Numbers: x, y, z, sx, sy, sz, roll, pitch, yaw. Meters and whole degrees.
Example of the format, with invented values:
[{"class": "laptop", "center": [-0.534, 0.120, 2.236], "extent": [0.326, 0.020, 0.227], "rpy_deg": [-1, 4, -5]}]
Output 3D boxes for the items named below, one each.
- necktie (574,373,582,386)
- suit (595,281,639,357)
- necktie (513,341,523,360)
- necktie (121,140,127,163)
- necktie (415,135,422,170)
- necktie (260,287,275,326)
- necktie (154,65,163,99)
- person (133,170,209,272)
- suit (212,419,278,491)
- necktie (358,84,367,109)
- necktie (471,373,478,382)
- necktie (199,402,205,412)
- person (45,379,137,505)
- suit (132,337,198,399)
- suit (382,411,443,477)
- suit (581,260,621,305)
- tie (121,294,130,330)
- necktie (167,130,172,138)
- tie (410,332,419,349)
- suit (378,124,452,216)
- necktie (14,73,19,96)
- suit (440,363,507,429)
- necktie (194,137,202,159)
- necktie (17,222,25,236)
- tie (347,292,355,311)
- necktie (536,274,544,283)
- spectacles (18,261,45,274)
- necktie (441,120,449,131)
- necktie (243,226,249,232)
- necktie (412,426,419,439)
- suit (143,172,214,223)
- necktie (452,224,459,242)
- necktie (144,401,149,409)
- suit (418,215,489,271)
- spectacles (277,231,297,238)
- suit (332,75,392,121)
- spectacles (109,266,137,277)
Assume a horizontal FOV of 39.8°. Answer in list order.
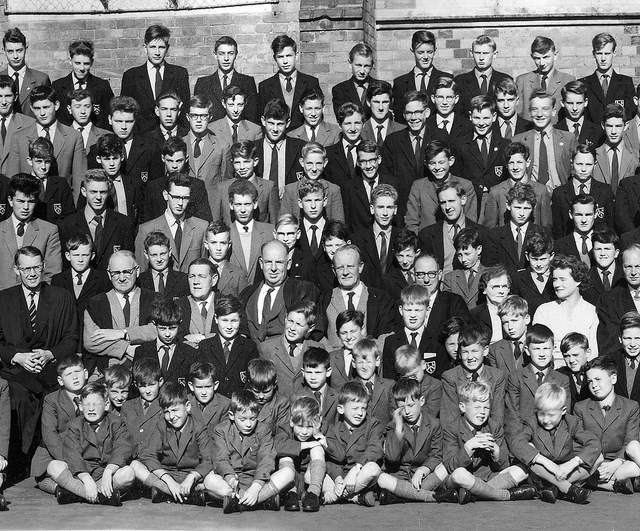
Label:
[{"class": "necktie", "center": [2.299, 1.003, 7.879], "extent": [0.048, 0.106, 0.028], "rpy_deg": [-8, 9, 17]}, {"class": "suit", "center": [2.784, 0.515, 8.436], "extent": [0.377, 0.647, 0.156], "rpy_deg": [-5, -32, 6]}, {"class": "necktie", "center": [1.794, 0.760, 8.053], "extent": [0.066, 0.148, 0.047], "rpy_deg": [1, 6, 7]}, {"class": "necktie", "center": [-2.260, -1.323, 10.229], "extent": [0.040, 0.188, 0.147], "rpy_deg": [-2, -6, -2]}, {"class": "necktie", "center": [1.145, -1.337, 10.310], "extent": [0.049, 0.342, 0.066], "rpy_deg": [0, -12, 3]}, {"class": "necktie", "center": [-0.519, 0.394, 8.714], "extent": [0.061, 0.349, 0.037], "rpy_deg": [7, -19, 21]}, {"class": "necktie", "center": [-2.028, -2.319, 11.096], "extent": [0.092, 0.377, 0.124], "rpy_deg": [-1, 7, -15]}, {"class": "person", "center": [-1.563, -0.138, 9.467], "extent": [0.803, 1.670, 0.461], "rpy_deg": [-1, 5, -27]}, {"class": "suit", "center": [-0.612, 1.525, 7.213], "extent": [0.530, 0.491, 0.424], "rpy_deg": [0, 7, -8]}, {"class": "necktie", "center": [0.537, -2.158, 11.208], "extent": [0.081, 0.263, 0.128], "rpy_deg": [0, 6, -2]}, {"class": "necktie", "center": [1.344, 0.962, 7.720], "extent": [0.041, 0.058, 0.013], "rpy_deg": [2, -10, 11]}, {"class": "necktie", "center": [-1.005, 1.191, 7.490], "extent": [0.047, 0.075, 0.021], "rpy_deg": [-2, -8, 1]}, {"class": "person", "center": [-1.872, 1.515, 7.447], "extent": [0.758, 1.122, 0.886], "rpy_deg": [3, 9, -8]}, {"class": "suit", "center": [-1.443, 0.951, 8.128], "extent": [0.602, 0.674, 0.361], "rpy_deg": [4, 20, -4]}, {"class": "suit", "center": [0.782, 1.496, 7.401], "extent": [0.452, 0.477, 0.307], "rpy_deg": [3, 7, 16]}, {"class": "suit", "center": [2.884, 0.148, 9.025], "extent": [0.399, 0.447, 0.099], "rpy_deg": [7, -10, -13]}, {"class": "tie", "center": [-1.892, 0.430, 8.607], "extent": [0.071, 0.294, 0.133], "rpy_deg": [-1, 7, -12]}, {"class": "necktie", "center": [-1.780, -1.554, 10.483], "extent": [0.052, 0.068, 0.087], "rpy_deg": [-1, 7, -15]}, {"class": "tie", "center": [0.875, 0.697, 8.260], "extent": [0.043, 0.142, 0.011], "rpy_deg": [0, -25, 0]}, {"class": "suit", "center": [1.075, -1.038, 10.006], "extent": [0.932, 1.423, 0.480], "rpy_deg": [3, 3, 4]}, {"class": "necktie", "center": [-3.840, -2.296, 11.200], "extent": [0.053, 0.274, 0.174], "rpy_deg": [-1, 7, -18]}, {"class": "suit", "center": [1.368, 1.162, 7.784], "extent": [0.555, 0.777, 0.424], "rpy_deg": [-1, 33, 13]}, {"class": "necktie", "center": [-1.413, -1.356, 10.214], "extent": [0.079, 0.237, 0.100], "rpy_deg": [0, 6, -8]}, {"class": "necktie", "center": [-3.134, -0.383, 9.261], "extent": [0.071, 0.119, 0.029], "rpy_deg": [31, -6, 11]}, {"class": "tie", "center": [0.294, 0.346, 8.684], "extent": [0.047, 0.166, 0.019], "rpy_deg": [-2, -28, 9]}, {"class": "necktie", "center": [2.201, 0.125, 8.871], "extent": [0.068, 0.075, 0.020], "rpy_deg": [3, -9, 19]}, {"class": "spectacles", "center": [-2.743, 0.025, 8.395], "extent": [0.208, 0.093, 0.107], "rpy_deg": [-2, 7, -25]}, {"class": "necktie", "center": [1.492, -1.669, 10.596], "extent": [0.082, 0.126, 0.029], "rpy_deg": [2, -11, 10]}, {"class": "necktie", "center": [-0.791, -0.384, 9.379], "extent": [0.060, 0.046, 0.017], "rpy_deg": [-2, -8, 9]}, {"class": "necktie", "center": [0.796, 1.397, 7.430], "extent": [0.060, 0.095, 0.022], "rpy_deg": [-2, -5, 5]}, {"class": "suit", "center": [-1.547, -0.715, 9.606], "extent": [0.562, 0.819, 0.245], "rpy_deg": [1, 1, -6]}, {"class": "necktie", "center": [1.432, -0.345, 9.429], "extent": [0.065, 0.195, 0.022], "rpy_deg": [3, -12, 27]}, {"class": "necktie", "center": [-1.482, 1.186, 7.555], "extent": [0.035, 0.065, 0.015], "rpy_deg": [4, -3, -2]}, {"class": "suit", "center": [1.544, -0.247, 9.533], "extent": [0.659, 0.663, 0.251], "rpy_deg": [-1, 16, 7]}, {"class": "spectacles", "center": [-0.351, -0.316, 9.050], "extent": [0.172, 0.060, 0.038], "rpy_deg": [0, 6, -6]}, {"class": "suit", "center": [0.548, -2.044, 11.261], "extent": [0.753, 0.896, 0.448], "rpy_deg": [-3, -16, 4]}, {"class": "spectacles", "center": [-1.916, 0.055, 8.577], "extent": [0.235, 0.096, 0.117], "rpy_deg": [0, 7, -10]}]
